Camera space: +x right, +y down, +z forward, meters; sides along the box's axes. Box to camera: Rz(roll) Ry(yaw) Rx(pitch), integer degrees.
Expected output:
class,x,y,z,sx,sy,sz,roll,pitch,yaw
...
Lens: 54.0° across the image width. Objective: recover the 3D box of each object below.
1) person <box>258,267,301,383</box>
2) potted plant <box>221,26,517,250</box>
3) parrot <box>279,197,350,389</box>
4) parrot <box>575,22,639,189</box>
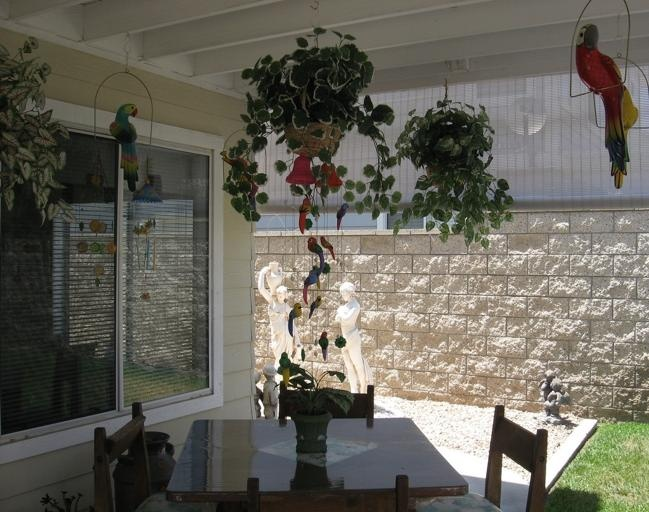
class,x,y,z,sx,sy,sz,roll,pitch,yaw
person,-0.497,0.593,6.791,0.435,1.556,0.395,1,2,41
potted plant,0.309,-0.606,3.833,1.706,1.474,1.414,1,1,24
parrot,-0.049,0.111,3.307,0.234,1.368,0.243,2,-1,-41
parrot,1.260,-0.674,2.873,0.226,0.761,0.265,3,3,22
